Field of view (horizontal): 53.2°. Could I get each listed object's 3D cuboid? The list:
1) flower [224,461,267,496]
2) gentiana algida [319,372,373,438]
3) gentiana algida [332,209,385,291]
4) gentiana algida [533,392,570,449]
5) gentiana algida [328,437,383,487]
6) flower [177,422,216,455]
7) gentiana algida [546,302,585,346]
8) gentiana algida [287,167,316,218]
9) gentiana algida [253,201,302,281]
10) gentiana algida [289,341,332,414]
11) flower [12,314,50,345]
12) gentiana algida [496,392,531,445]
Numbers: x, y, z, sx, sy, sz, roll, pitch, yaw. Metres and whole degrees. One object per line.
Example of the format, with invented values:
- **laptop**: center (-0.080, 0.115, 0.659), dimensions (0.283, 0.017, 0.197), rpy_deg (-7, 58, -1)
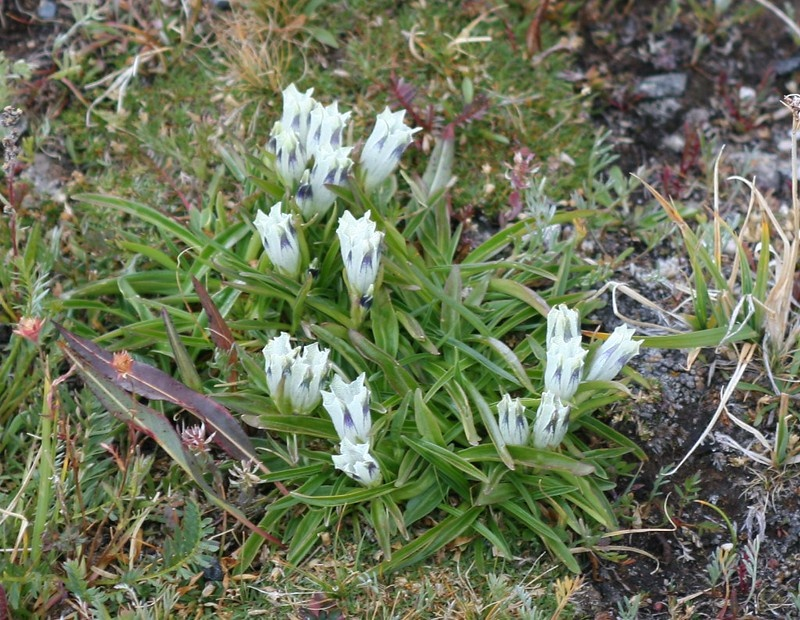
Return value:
- **flower**: center (-0.484, 0.527, 2.508), dimensions (0.093, 0.095, 0.096), rpy_deg (-23, 68, -6)
- **gentiana algida**: center (-0.168, 0.290, 2.393), dimensions (0.119, 0.172, 0.111), rpy_deg (-31, 46, -20)
- **gentiana algida**: center (-0.130, -0.190, 2.528), dimensions (0.140, 0.255, 0.136), rpy_deg (30, 47, 30)
- **gentiana algida**: center (0.455, 0.366, 2.445), dimensions (0.090, 0.321, 0.135), rpy_deg (20, 68, 15)
- **gentiana algida**: center (-0.132, 0.460, 2.416), dimensions (0.101, 0.148, 0.105), rpy_deg (-30, 62, 15)
- **flower**: center (-0.628, 0.393, 2.449), dimensions (0.086, 0.075, 0.085), rpy_deg (-53, 48, 9)
- **gentiana algida**: center (0.486, 0.051, 2.422), dimensions (0.112, 0.147, 0.109), rpy_deg (14, 46, 15)
- **gentiana algida**: center (-0.323, -0.359, 2.662), dimensions (0.080, 0.082, 0.180), rpy_deg (6, 92, -2)
- **gentiana algida**: center (-0.387, -0.223, 2.601), dimensions (0.122, 0.262, 0.164), rpy_deg (-23, 64, -5)
- **gentiana algida**: center (-0.279, 0.215, 2.436), dimensions (0.123, 0.212, 0.127), rpy_deg (37, 42, 27)
- **flower**: center (-1.140, 0.060, 2.463), dimensions (0.068, 0.071, 0.069), rpy_deg (-38, 28, -18)
- **gentiana algida**: center (0.349, 0.329, 2.406), dimensions (0.093, 0.194, 0.087), rpy_deg (-2, 36, 12)
